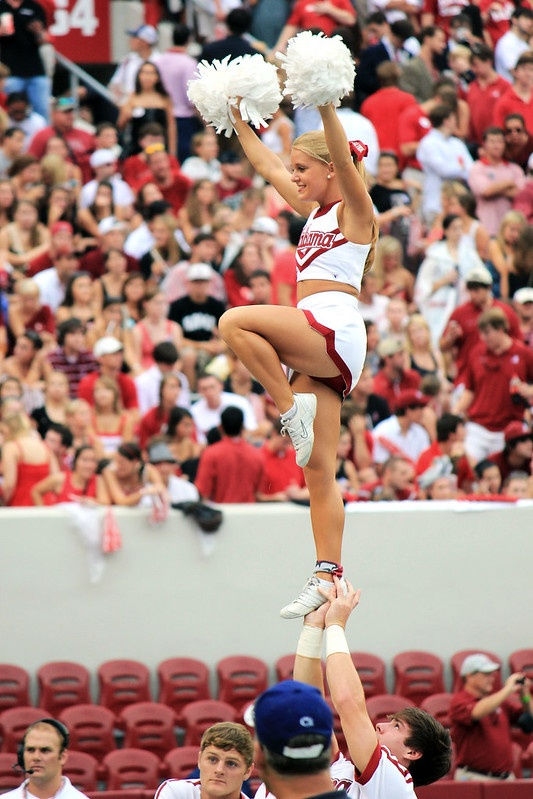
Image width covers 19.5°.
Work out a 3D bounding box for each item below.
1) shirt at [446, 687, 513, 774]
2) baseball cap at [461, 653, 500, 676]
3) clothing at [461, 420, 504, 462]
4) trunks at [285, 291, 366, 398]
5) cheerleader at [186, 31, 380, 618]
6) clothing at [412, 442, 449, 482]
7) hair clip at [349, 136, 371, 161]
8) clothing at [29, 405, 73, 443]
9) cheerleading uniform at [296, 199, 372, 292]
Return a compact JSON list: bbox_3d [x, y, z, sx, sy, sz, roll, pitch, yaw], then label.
[{"bbox_3d":[1.142,1.715,8.168,0.314,0.408,0.229,-1,10,33],"label":"shirt"},{"bbox_3d":[1.128,1.407,8.228,0.176,0.084,0.115,-7,-3,10],"label":"baseball cap"},{"bbox_3d":[1.362,0.283,9.838,0.215,0.236,0.270,3,0,1],"label":"clothing"},{"bbox_3d":[0.248,-0.215,6.333,0.296,0.433,0.269,-1,24,1],"label":"trunks"},{"bbox_3d":[0.117,-0.291,6.354,0.813,2.303,1.225,1,2,-28],"label":"cheerleader"},{"bbox_3d":[0.996,0.382,9.617,0.113,0.128,0.309,-15,21,43],"label":"clothing"},{"bbox_3d":[0.370,-1.028,6.335,0.041,0.090,0.074,-26,7,-37],"label":"hair clip"},{"bbox_3d":[-1.389,0.131,9.556,0.181,0.186,0.222,-38,-17,20],"label":"clothing"},{"bbox_3d":[0.264,-0.650,6.378,0.345,0.353,0.319,4,18,24],"label":"cheerleading uniform"}]
